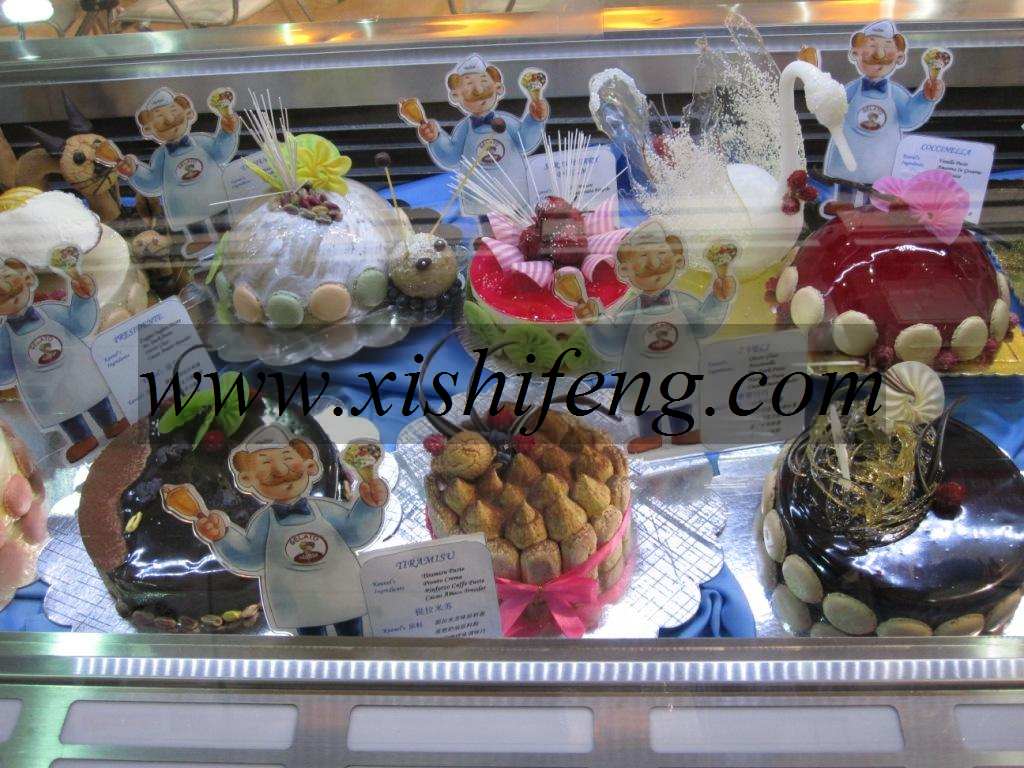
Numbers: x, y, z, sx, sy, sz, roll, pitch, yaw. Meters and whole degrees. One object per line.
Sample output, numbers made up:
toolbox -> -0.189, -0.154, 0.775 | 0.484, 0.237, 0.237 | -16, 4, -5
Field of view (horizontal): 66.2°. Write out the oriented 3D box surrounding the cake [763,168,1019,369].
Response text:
cake -> 0.673, -0.191, 1.453 | 0.415, 0.237, 0.334 | -7, 35, 4

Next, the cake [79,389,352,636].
cake -> -0.560, 0.254, 1.599 | 0.444, 0.163, 0.468 | 10, 76, 18

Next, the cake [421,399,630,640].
cake -> 0.035, 0.203, 1.523 | 0.370, 0.424, 0.421 | -1, 46, 1

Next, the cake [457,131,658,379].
cake -> 0.042, -0.209, 1.516 | 0.341, 0.366, 0.427 | -8, 41, -4
